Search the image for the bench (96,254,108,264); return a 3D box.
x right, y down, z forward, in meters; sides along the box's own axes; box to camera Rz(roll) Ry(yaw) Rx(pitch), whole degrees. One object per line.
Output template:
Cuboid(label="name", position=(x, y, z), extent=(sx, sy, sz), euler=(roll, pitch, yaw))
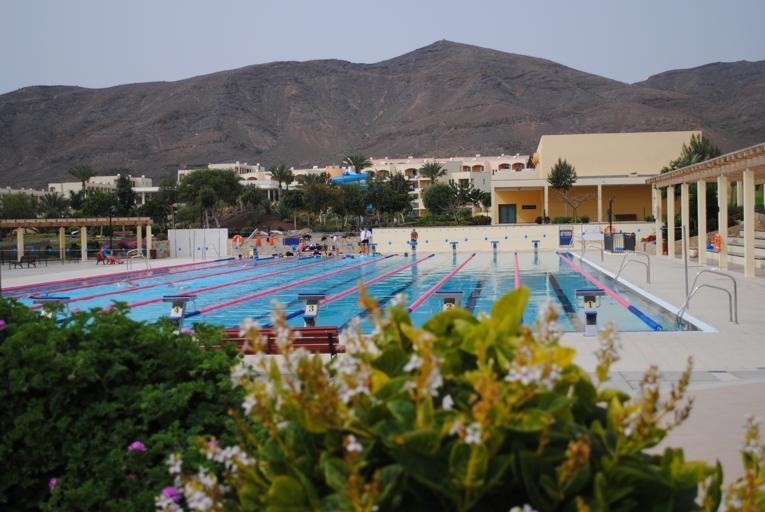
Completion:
Cuboid(label="bench", position=(-15.666, 0.234, 34.654), extent=(0.367, 0.478, 0.470), euler=(0, 7, -13))

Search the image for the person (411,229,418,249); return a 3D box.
Cuboid(label="person", position=(2.161, -1.110, 42.866), extent=(0.435, 1.431, 1.380), euler=(-2, 5, 3))
